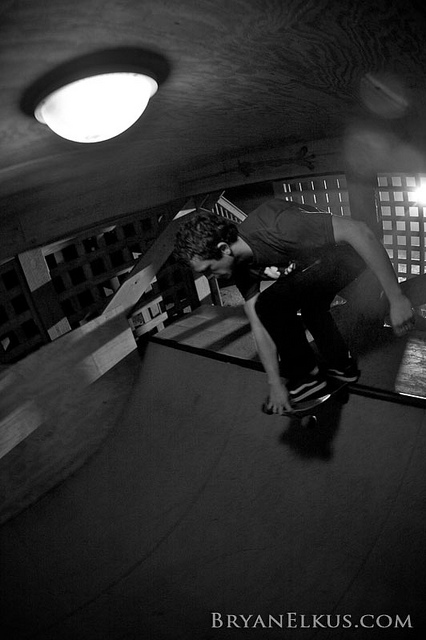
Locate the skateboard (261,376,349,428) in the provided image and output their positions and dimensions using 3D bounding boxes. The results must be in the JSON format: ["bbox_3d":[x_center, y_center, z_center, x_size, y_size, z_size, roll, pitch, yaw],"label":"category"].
[{"bbox_3d":[0.548,0.475,2.325,0.459,0.113,0.290,-30,16,-36],"label":"skateboard"}]

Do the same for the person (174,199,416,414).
[{"bbox_3d":[0.454,-0.060,2.171,1.071,1.160,0.749,-12,14,8],"label":"person"}]
